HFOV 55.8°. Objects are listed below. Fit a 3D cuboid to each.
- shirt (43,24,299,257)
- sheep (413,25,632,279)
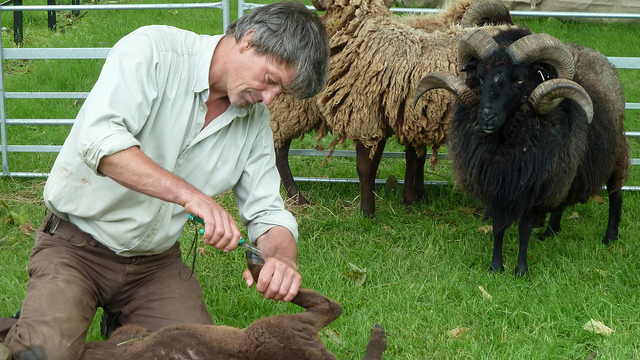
[{"bbox_3d":[-1.440,-0.327,5.622,2.135,2.136,0.756,-4,17,-12],"label":"shirt"},{"bbox_3d":[2.563,-0.414,7.311,2.360,2.779,1.128,-6,17,-16],"label":"sheep"}]
